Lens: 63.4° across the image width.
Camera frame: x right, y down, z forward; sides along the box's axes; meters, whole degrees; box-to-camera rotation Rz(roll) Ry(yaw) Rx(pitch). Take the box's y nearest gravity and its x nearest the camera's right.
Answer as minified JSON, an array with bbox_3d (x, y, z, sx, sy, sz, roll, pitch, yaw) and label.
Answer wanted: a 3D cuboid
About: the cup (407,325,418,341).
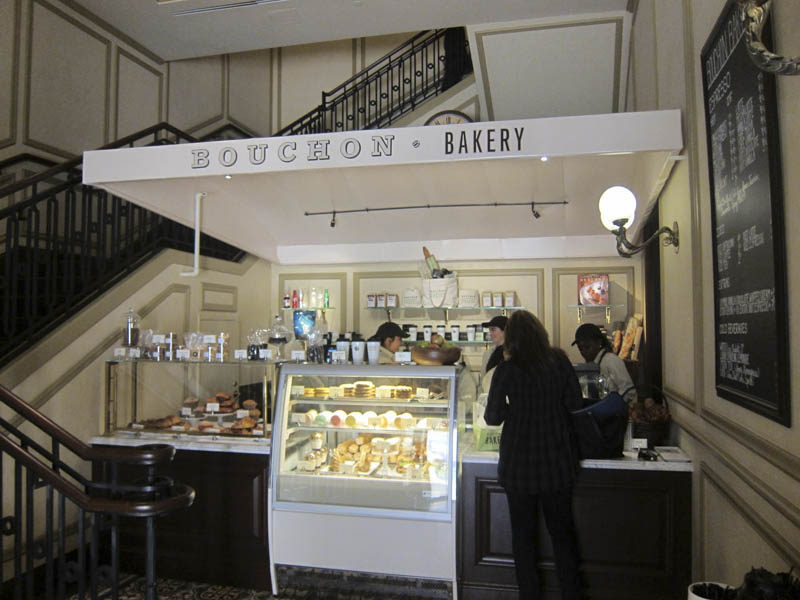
[{"bbox_3d":[0.125,0.340,6.613,0.116,0.160,0.105,2,2,18],"label":"cup"}]

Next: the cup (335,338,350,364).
[{"bbox_3d":[-0.399,0.348,4.603,0.115,0.197,0.129,0,-6,-2],"label":"cup"}]

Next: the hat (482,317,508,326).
[{"bbox_3d":[0.784,0.180,5.291,0.144,0.082,0.094,-2,-3,9],"label":"hat"}]

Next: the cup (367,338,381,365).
[{"bbox_3d":[-0.178,0.380,4.649,0.121,0.195,0.124,0,0,0],"label":"cup"}]

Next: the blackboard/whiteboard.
[{"bbox_3d":[1.751,-0.474,3.351,0.142,2.135,0.757,-2,-3,10],"label":"blackboard/whiteboard"}]

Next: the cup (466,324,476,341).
[{"bbox_3d":[0.717,0.335,6.604,0.081,0.167,0.084,-2,-3,0],"label":"cup"}]

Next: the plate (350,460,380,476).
[{"bbox_3d":[-0.238,1.146,4.428,0.118,0.031,0.118,-2,24,12],"label":"plate"}]

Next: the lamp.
[{"bbox_3d":[1.657,-0.531,4.551,0.500,0.555,0.226,4,-12,13],"label":"lamp"}]

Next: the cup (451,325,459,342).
[{"bbox_3d":[0.579,0.343,6.659,0.096,0.193,0.129,-1,-9,10],"label":"cup"}]

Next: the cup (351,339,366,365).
[{"bbox_3d":[-0.300,0.362,4.599,0.120,0.162,0.126,-2,-1,0],"label":"cup"}]

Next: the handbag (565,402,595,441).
[{"bbox_3d":[1.166,0.765,4.266,0.172,0.253,0.231,0,0,-36],"label":"handbag"}]

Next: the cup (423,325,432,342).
[{"bbox_3d":[0.263,0.328,6.690,0.103,0.213,0.114,4,5,25],"label":"cup"}]

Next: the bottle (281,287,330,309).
[{"bbox_3d":[-1.050,-0.007,7.284,0.507,0.220,0.165,-3,-3,12],"label":"bottle"}]

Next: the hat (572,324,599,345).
[{"bbox_3d":[1.512,0.276,5.328,0.180,0.116,0.142,-4,-2,6],"label":"hat"}]

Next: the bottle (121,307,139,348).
[{"bbox_3d":[-2.126,0.226,5.147,0.108,0.276,0.128,-1,-3,-27],"label":"bottle"}]

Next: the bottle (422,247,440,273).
[{"bbox_3d":[0.285,-0.360,6.171,0.148,0.270,0.256,-2,-2,-5],"label":"bottle"}]

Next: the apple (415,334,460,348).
[{"bbox_3d":[0.313,0.338,5.406,0.176,0.078,0.181,7,-12,-31],"label":"apple"}]
